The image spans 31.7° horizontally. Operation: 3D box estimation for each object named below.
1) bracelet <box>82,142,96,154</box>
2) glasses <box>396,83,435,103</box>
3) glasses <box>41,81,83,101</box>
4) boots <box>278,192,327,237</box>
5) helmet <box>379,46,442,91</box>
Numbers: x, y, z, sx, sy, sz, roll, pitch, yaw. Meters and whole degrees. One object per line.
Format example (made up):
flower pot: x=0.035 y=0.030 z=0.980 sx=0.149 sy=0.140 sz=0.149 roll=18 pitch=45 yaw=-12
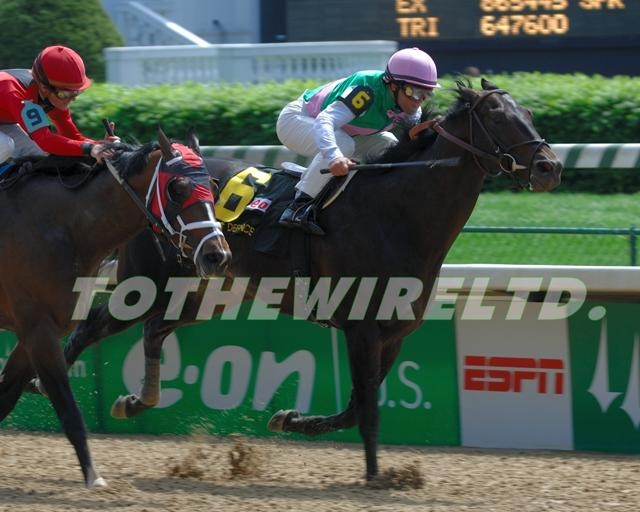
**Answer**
bracelet: x=-1.242 y=-0.574 z=5.951 sx=0.064 sy=0.055 sz=0.064 roll=24 pitch=37 yaw=31
glasses: x=0.520 y=-0.897 z=6.153 sx=0.122 sy=0.047 sz=0.136 roll=6 pitch=19 yaw=-34
glasses: x=-1.403 y=-0.890 z=6.038 sx=0.149 sy=0.042 sz=0.104 roll=22 pitch=21 yaw=10
boots: x=-0.093 y=-0.220 z=6.181 sx=0.275 sy=0.103 sz=0.258 roll=13 pitch=56 yaw=28
helmet: x=0.510 y=-1.035 z=6.165 sx=0.294 sy=0.131 sz=0.214 roll=16 pitch=13 yaw=28
